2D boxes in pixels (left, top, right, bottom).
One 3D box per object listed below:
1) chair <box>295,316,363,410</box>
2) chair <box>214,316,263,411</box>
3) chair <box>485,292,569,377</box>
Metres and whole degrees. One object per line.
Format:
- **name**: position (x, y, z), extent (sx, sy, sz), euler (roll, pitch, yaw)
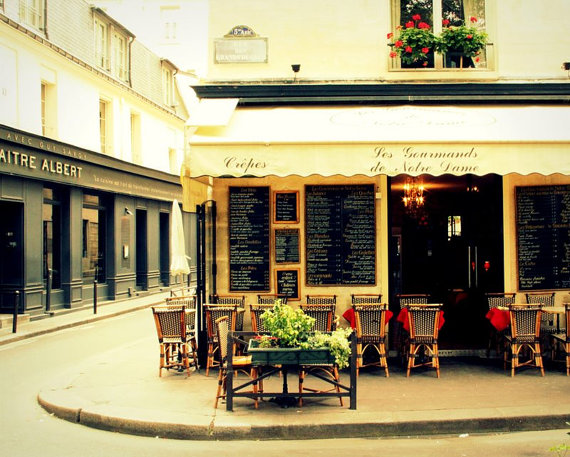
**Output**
- **chair**: position (0.646, 2.625, 16.234), extent (0.923, 1.558, 0.903), euler (-4, -12, 5)
- **chair**: position (-0.977, 2.596, 16.073), extent (0.852, 1.452, 0.987), euler (-6, -5, 5)
- **chair**: position (4.927, 2.189, 17.723), extent (1.314, 2.303, 1.588), euler (-2, 4, 6)
